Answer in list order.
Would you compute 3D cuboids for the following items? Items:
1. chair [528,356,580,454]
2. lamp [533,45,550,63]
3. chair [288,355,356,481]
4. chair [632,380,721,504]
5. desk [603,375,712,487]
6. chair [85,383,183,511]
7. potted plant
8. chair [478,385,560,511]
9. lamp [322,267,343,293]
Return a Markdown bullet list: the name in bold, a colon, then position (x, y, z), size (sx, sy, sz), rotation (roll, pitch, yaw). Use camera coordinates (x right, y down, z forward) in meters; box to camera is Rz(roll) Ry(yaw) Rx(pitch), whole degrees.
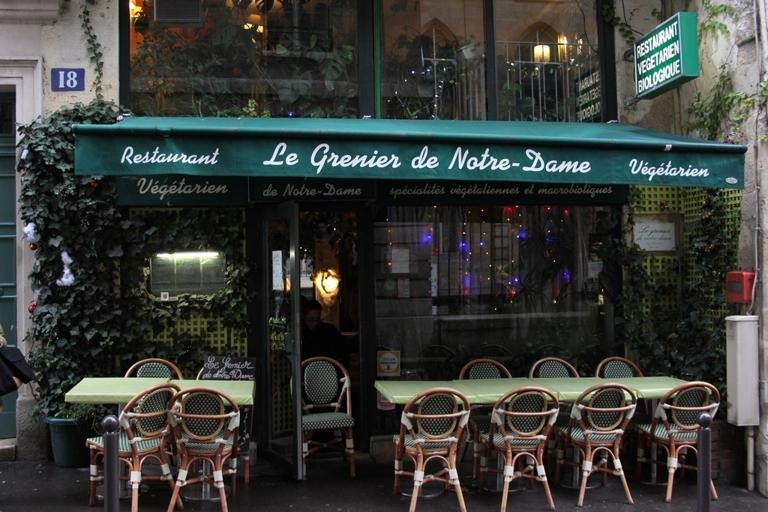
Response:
- **chair**: position (2.400, 2.004, 15.567), size (0.940, 1.383, 0.934), rotation (-1, 2, 3)
- **lamp**: position (2.366, -3.023, 16.518), size (0.242, 0.314, 0.256), rotation (-2, -6, 28)
- **chair**: position (-0.786, 2.217, 15.299), size (0.735, 1.562, 1.150), rotation (-1, 0, -3)
- **chair**: position (3.894, 2.418, 14.425), size (0.738, 1.322, 1.256), rotation (-2, 0, -31)
- **desk**: position (3.886, 2.379, 14.617), size (0.874, 1.597, 1.003), rotation (0, 4, -19)
- **chair**: position (-3.172, 2.407, 13.897), size (1.012, 1.623, 1.201), rotation (-2, 0, -34)
- **potted plant**: position (-4.213, 2.447, 15.108), size (0.834, 0.701, 0.879), rotation (3, -1, -12)
- **chair**: position (1.768, 2.460, 14.206), size (0.953, 1.410, 1.030), rotation (-1, 0, 2)
- **lamp**: position (-0.782, 0.366, 15.863), size (0.232, 0.357, 0.187), rotation (-7, 2, 1)
